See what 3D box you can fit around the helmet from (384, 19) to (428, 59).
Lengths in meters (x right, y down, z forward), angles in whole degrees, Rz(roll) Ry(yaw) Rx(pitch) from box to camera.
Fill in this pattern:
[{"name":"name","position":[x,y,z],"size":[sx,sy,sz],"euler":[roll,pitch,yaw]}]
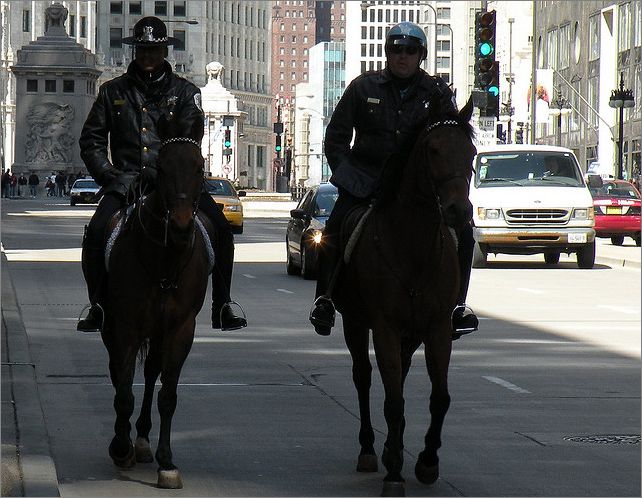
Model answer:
[{"name":"helmet","position":[0.664,-1.627,11.999],"size":[0.320,0.293,0.322],"euler":[1,7,2]}]

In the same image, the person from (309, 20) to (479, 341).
[{"name":"person","position":[0.574,-0.550,12.113],"size":[1.450,2.400,0.838],"euler":[2,1,-7]}]

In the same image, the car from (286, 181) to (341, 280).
[{"name":"car","position":[0.444,-0.388,26.813],"size":[1.839,1.445,3.676],"euler":[0,3,-4]}]

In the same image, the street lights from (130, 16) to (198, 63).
[{"name":"street lights","position":[-1.381,-1.780,12.506],"size":[0.555,0.168,0.557],"euler":[-4,18,-16]}]

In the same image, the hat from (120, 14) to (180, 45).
[{"name":"hat","position":[-1.405,-1.788,12.613],"size":[0.435,0.241,0.640],"euler":[0,7,-5]}]

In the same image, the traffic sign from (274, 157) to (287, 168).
[{"name":"traffic sign","position":[-2.148,-4.650,80.702],"size":[0.475,0.483,0.800],"euler":[1,-1,-1]}]
